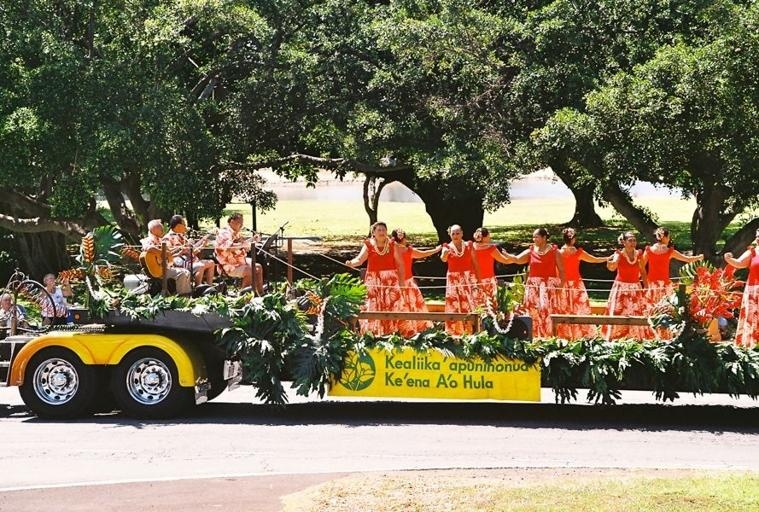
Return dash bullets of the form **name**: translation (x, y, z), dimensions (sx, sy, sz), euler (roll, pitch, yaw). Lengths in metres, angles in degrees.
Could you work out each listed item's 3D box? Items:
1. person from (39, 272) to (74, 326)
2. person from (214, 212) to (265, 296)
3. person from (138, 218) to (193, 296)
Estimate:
- **person**: translation (-6.736, 0.700, 24.872), dimensions (0.653, 0.552, 1.628), euler (-21, -1, -13)
- **person**: translation (-2.741, -0.062, 23.133), dimensions (0.874, 1.499, 1.455), euler (-3, 4, -18)
- **person**: translation (-4.058, 0.054, 22.572), dimensions (0.889, 1.393, 0.660), euler (1, 4, 29)
